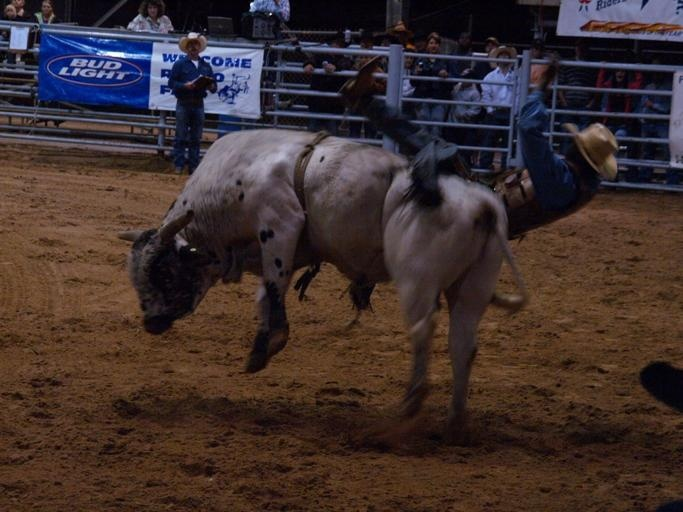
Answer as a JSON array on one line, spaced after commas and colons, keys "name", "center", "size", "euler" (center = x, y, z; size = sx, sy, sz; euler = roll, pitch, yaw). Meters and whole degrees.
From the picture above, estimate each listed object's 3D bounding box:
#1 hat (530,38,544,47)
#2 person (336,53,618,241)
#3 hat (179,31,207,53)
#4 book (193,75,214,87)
[{"name": "hat", "center": [3.376, -3.645, 14.012], "size": [0.255, 0.119, 0.256], "euler": [1, 3, 7]}, {"name": "person", "center": [1.035, -0.925, 6.686], "size": [2.350, 1.024, 0.658], "euler": [14, 17, 24]}, {"name": "hat", "center": [-2.322, -3.366, 13.012], "size": [0.477, 0.414, 0.160], "euler": [-6, 38, -13]}, {"name": "book", "center": [-2.083, -2.679, 12.650], "size": [0.303, 0.194, 0.350], "euler": [0, 11, -24]}]
